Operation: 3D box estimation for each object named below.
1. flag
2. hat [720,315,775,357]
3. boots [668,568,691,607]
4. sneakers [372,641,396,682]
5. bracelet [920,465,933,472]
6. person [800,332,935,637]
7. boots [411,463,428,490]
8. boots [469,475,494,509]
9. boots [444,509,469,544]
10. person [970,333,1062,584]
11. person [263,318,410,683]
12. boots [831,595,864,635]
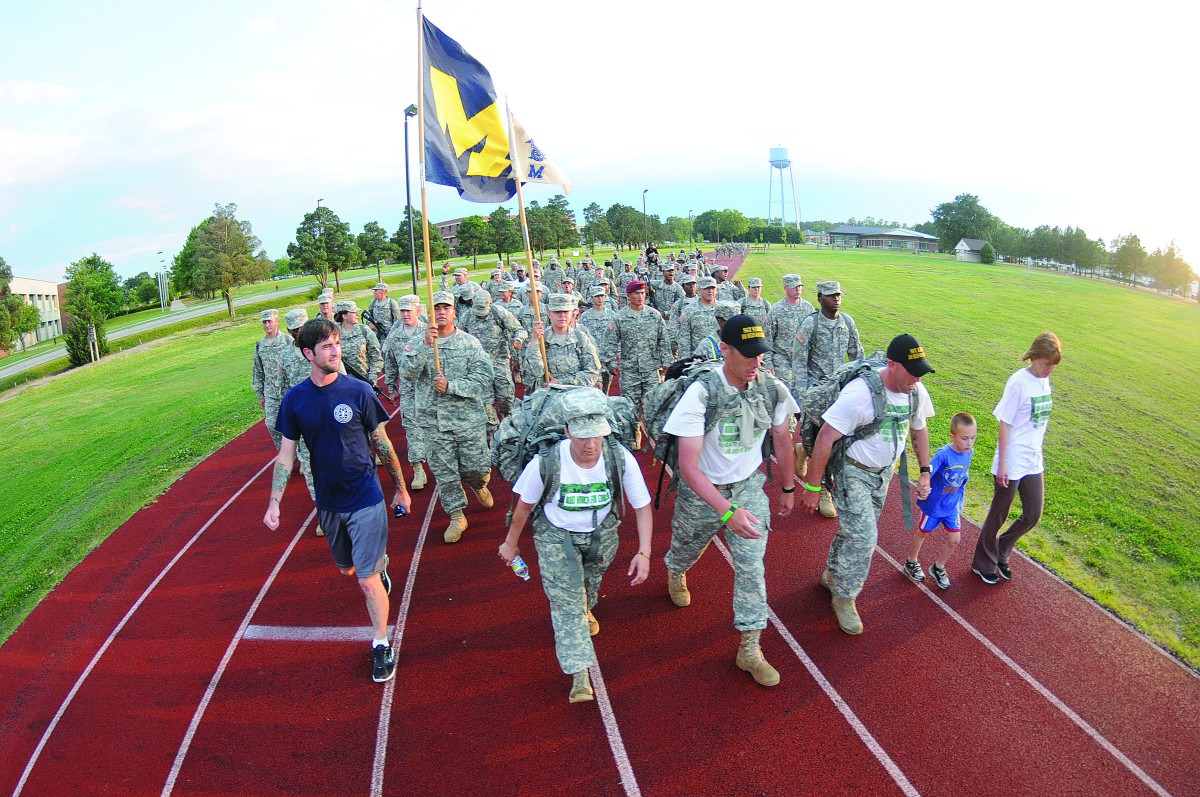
[{"bbox_3d":[-1.965,-4.505,10.340,1.712,2.737,1.275,-6,18,-8],"label":"flag"},{"bbox_3d":[1.555,-0.671,7.141,0.470,0.430,0.281,-1,18,7],"label":"hat"},{"bbox_3d":[1.029,2.498,8.634,0.222,0.363,0.554,-10,28,-9],"label":"boots"},{"bbox_3d":[-2.595,3.151,7.926,0.238,0.489,0.207,-3,-26,-7],"label":"sneakers"},{"bbox_3d":[4.051,0.865,8.218,0.117,0.072,0.114,-2,2,12],"label":"bracelet"},{"bbox_3d":[3.271,0.983,8.208,1.592,3.610,0.993,-12,20,-25],"label":"person"},{"bbox_3d":[-3.262,1.329,11.834,0.316,0.436,0.492,-8,19,-15],"label":"boots"},{"bbox_3d":[-1.930,1.458,10.825,0.290,0.715,0.576,-8,18,-12],"label":"boots"},{"bbox_3d":[-2.260,1.948,10.151,0.287,0.369,0.472,-1,18,7],"label":"boots"},{"bbox_3d":[5.459,0.795,8.628,0.664,3.306,0.980,13,24,42],"label":"person"},{"bbox_3d":[-3.059,1.130,7.799,1.082,4.157,1.061,-1,18,9],"label":"person"},{"bbox_3d":[3.063,2.699,8.222,0.222,0.465,0.501,-18,29,-5],"label":"boots"}]
